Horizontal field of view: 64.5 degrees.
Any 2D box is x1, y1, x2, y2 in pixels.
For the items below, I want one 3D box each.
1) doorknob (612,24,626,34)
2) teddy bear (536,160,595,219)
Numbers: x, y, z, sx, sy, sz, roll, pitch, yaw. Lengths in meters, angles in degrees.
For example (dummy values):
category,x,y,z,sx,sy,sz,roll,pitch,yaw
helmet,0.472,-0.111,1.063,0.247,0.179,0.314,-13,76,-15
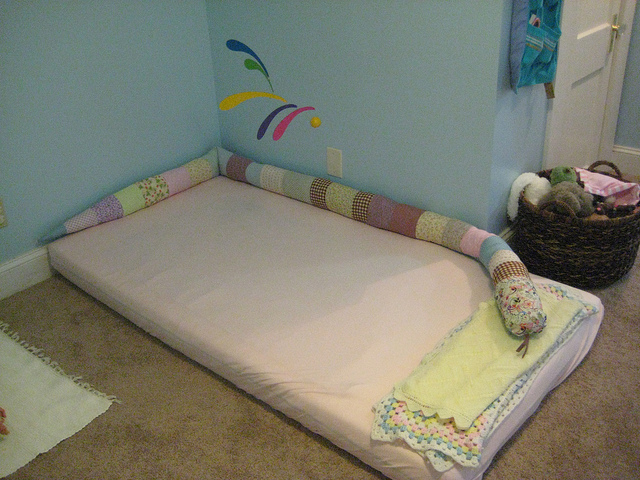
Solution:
category,x,y,z,sx,sy,sz,roll,pitch,yaw
doorknob,1.702,-1.219,2.913,0.080,0.045,0.059,14,71,28
teddy bear,1.137,-0.226,2.361,0.200,0.207,0.290,-14,27,-21
